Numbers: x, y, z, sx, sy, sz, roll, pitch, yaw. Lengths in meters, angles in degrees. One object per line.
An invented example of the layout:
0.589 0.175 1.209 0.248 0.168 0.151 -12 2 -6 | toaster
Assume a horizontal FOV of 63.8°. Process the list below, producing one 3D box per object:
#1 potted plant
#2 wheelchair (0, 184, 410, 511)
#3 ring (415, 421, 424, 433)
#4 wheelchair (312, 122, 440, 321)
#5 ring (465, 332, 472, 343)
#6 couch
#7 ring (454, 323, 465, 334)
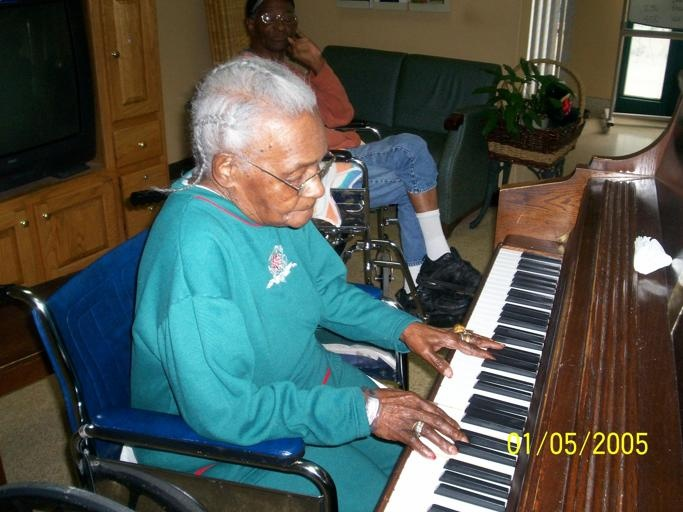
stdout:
1.221 -0.977 3.520 0.581 0.580 0.768 16 38 29 | potted plant
-0.337 0.286 1.628 0.810 0.851 0.586 16 36 18 | wheelchair
0.172 0.376 1.214 0.005 0.021 0.021 6 5 -19 | ring
0.226 -0.200 3.163 0.692 1.016 0.609 -3 17 41 | wheelchair
0.336 0.215 1.457 0.016 0.023 0.008 1 -4 16 | ring
0.325 -0.931 4.255 1.454 1.102 0.835 17 33 28 | couch
0.319 0.198 1.484 0.022 0.007 0.023 -9 34 6 | ring
